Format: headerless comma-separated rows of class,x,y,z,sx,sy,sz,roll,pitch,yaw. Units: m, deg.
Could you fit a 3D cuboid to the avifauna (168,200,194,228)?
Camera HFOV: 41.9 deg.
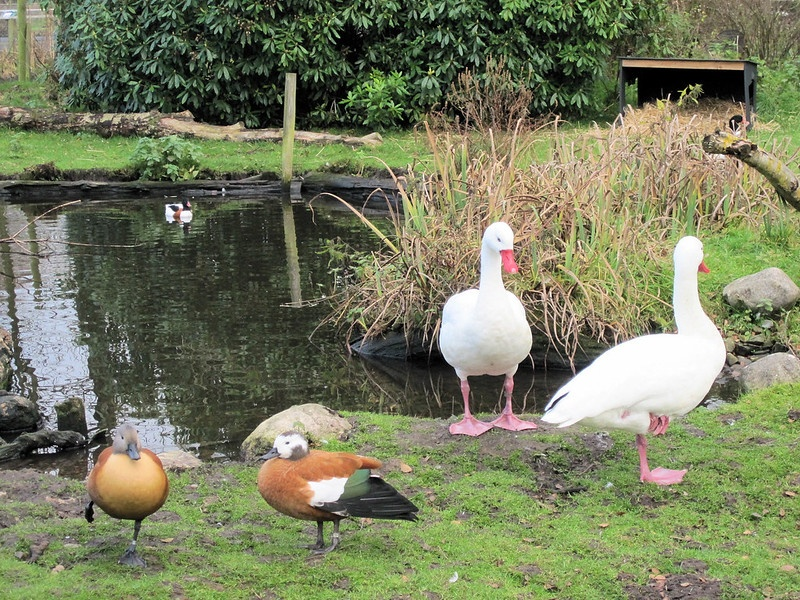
avifauna,-3.664,-1.489,17.949,0.392,0.492,0.659,-7,14,-40

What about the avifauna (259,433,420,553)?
avifauna,-0.483,1.449,7.973,1.262,0.961,0.656,1,-1,-20

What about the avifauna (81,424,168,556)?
avifauna,-2.053,1.391,7.837,0.597,1.078,1.140,5,3,-23
